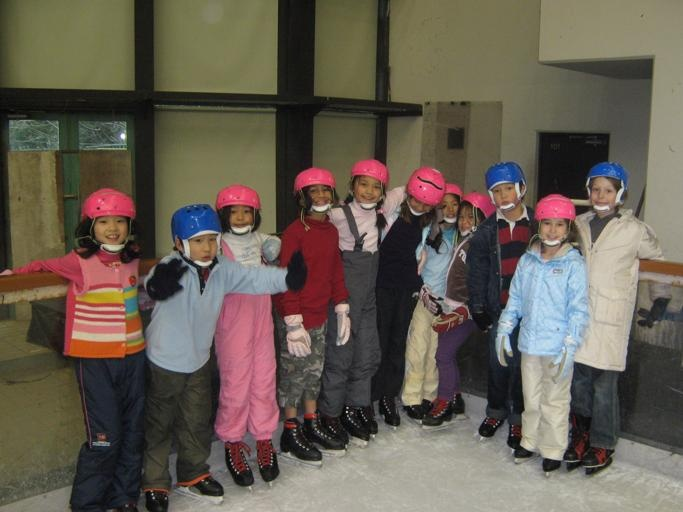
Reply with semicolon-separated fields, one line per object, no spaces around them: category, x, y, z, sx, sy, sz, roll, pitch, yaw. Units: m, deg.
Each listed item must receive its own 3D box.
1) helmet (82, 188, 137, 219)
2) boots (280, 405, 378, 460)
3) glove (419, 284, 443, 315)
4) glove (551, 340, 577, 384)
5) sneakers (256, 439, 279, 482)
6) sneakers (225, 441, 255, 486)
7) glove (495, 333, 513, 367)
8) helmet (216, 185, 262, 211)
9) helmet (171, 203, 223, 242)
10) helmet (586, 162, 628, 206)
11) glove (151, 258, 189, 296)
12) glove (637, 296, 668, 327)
helmet;-1.627;-0.366;4.579;0.209;0.238;0.293;-1;11;-22
boots;-0.232;1.367;5.295;0.331;0.228;0.425;1;-3;31
glove;0.778;0.399;5.732;0.171;0.092;0.236;29;-17;42
glove;1.683;0.807;5.019;0.113;0.301;0.173;10;18;-39
sneakers;-0.554;1.561;5.004;0.111;0.150;0.341;-6;29;-5
sneakers;-0.770;1.556;4.974;0.185;0.285;0.258;-4;12;-17
glove;1.326;0.768;5.307;0.107;0.270;0.145;10;-17;-40
helmet;-0.800;-0.440;5.036;0.326;0.182;0.276;10;15;41
helmet;-1.020;-0.246;4.638;0.219;0.244;0.303;-14;22;-39
helmet;2.119;-0.594;5.284;0.278;0.344;0.336;-3;-10;40
glove;-1.199;0.175;4.557;0.275;0.286;0.153;-4;11;-16
glove;2.417;0.438;5.098;0.082;0.255;0.126;-6;53;-32
